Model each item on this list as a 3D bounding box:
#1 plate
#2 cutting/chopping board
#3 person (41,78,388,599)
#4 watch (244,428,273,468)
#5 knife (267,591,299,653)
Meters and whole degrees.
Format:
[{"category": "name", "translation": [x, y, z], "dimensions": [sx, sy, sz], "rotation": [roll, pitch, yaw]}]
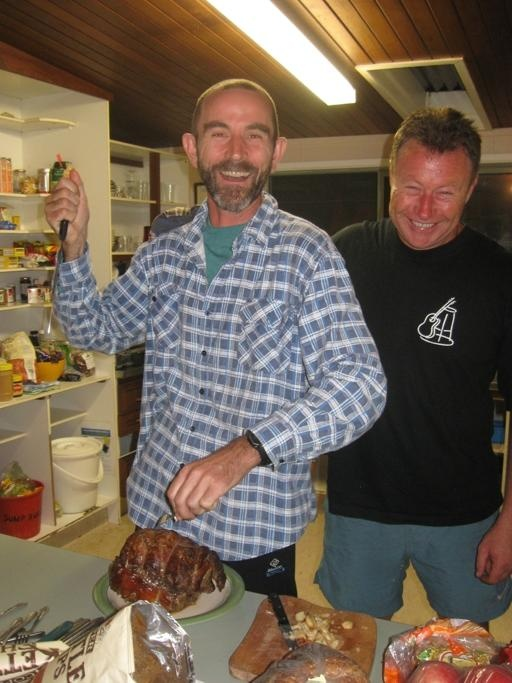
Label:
[{"category": "plate", "translation": [-0.151, 0.445, 1.007], "dimensions": [0.271, 0.063, 0.161], "rotation": [-2, 9, -16]}, {"category": "cutting/chopping board", "translation": [0.082, 0.479, 0.887], "dimensions": [0.205, 0.037, 0.213], "rotation": [3, 9, 16]}, {"category": "person", "translation": [-0.114, 0.010, 1.178], "dimensions": [0.496, 1.139, 0.710], "rotation": [-5, 10, -31]}, {"category": "watch", "translation": [0.004, 0.173, 0.932], "dimensions": [0.023, 0.057, 0.050], "rotation": [-43, 19, -3]}, {"category": "knife", "translation": [0.045, 0.461, 0.919], "dimensions": [0.021, 0.010, 0.110], "rotation": [-4, 10, -10]}]
